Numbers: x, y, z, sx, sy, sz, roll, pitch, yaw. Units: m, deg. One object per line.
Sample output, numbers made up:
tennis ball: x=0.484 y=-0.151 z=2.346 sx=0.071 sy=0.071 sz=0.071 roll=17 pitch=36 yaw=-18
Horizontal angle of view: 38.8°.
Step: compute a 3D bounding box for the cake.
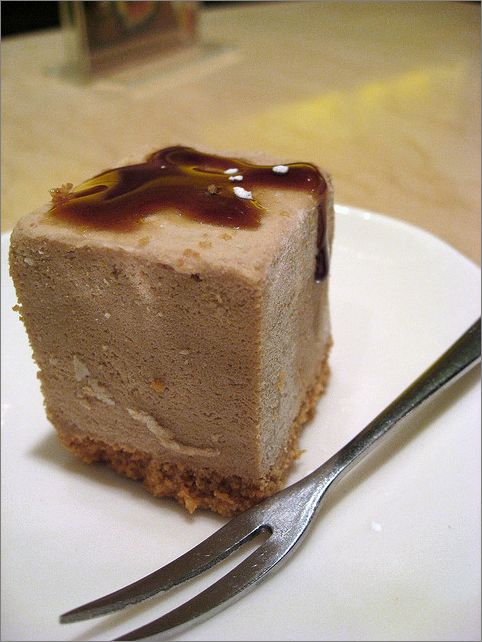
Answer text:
cake: x=-0.077 y=-0.009 z=1.019 sx=0.483 sy=0.421 sz=0.452 roll=18 pitch=36 yaw=25
